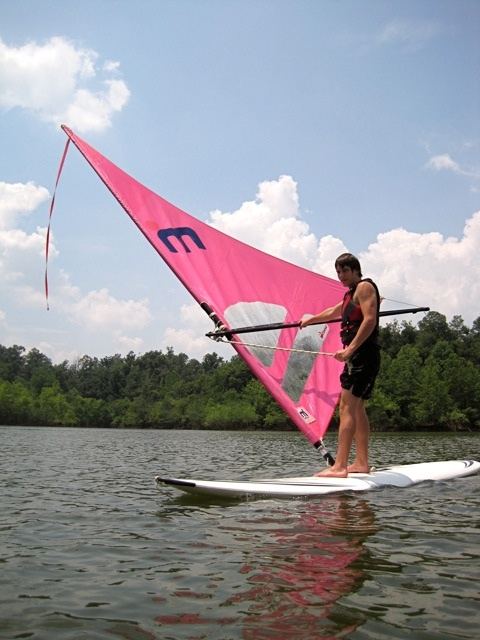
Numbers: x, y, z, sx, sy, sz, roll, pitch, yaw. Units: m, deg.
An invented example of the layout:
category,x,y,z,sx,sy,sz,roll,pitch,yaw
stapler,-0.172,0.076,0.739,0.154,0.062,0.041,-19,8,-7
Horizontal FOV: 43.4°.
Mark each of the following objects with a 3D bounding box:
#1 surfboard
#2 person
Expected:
category,x,y,z,sx,sy,sz,roll,pitch,yaw
surfboard,1.198,1.978,7.377,4.442,0.254,0.990,3,-6,-26
person,1.222,0.564,6.847,0.750,2.600,1.555,1,-6,8
